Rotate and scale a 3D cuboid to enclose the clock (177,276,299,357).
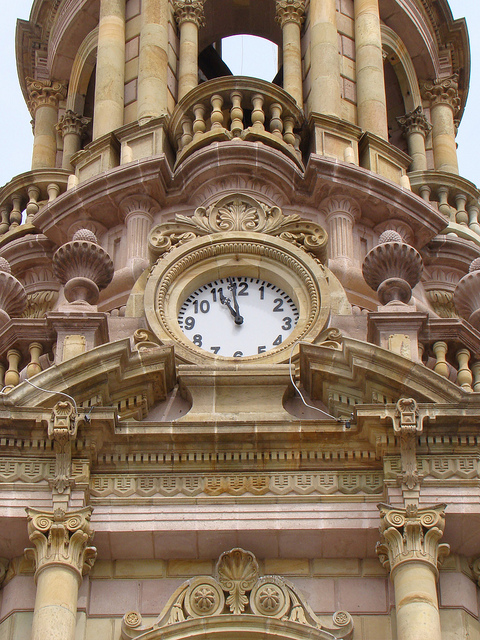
[{"bbox_3d":[-0.118,-0.001,16.421,1.917,0.147,1.846,13,-52,11],"label":"clock"}]
